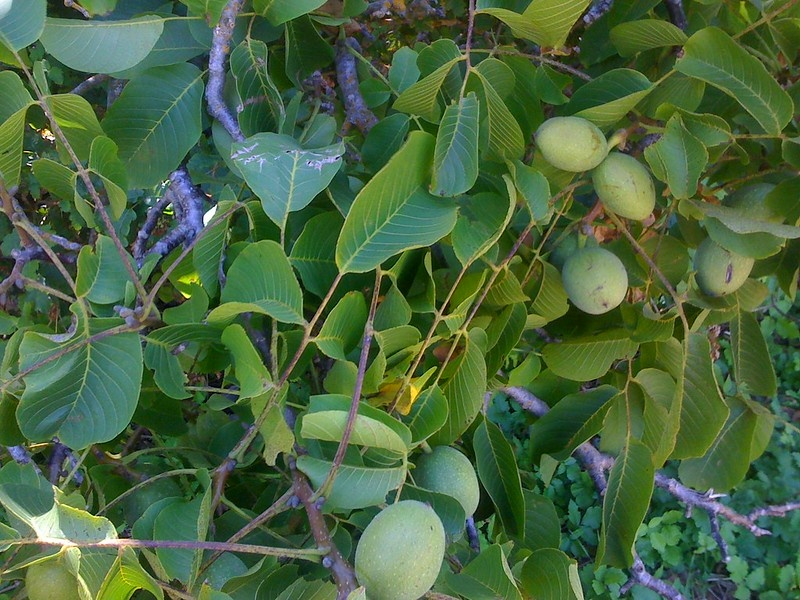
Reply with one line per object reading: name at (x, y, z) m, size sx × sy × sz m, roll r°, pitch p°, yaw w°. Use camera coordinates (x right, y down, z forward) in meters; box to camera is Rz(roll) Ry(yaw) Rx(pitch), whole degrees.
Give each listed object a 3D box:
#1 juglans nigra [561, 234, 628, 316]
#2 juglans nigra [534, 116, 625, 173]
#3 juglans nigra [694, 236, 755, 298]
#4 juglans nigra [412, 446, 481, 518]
juglans nigra at (0.306, -0.024, 1.231) m, size 0.093 × 0.094 × 0.124 m, roll 13°, pitch 54°, yaw -39°
juglans nigra at (0.262, -0.237, 1.143) m, size 0.117 × 0.083 × 0.093 m, roll 8°, pitch 51°, yaw 18°
juglans nigra at (0.511, -0.047, 1.197) m, size 0.068 × 0.075 × 0.106 m, roll 20°, pitch 70°, yaw 3°
juglans nigra at (0.062, 0.272, 1.154) m, size 0.076 × 0.080 × 0.108 m, roll -18°, pitch 65°, yaw -35°
